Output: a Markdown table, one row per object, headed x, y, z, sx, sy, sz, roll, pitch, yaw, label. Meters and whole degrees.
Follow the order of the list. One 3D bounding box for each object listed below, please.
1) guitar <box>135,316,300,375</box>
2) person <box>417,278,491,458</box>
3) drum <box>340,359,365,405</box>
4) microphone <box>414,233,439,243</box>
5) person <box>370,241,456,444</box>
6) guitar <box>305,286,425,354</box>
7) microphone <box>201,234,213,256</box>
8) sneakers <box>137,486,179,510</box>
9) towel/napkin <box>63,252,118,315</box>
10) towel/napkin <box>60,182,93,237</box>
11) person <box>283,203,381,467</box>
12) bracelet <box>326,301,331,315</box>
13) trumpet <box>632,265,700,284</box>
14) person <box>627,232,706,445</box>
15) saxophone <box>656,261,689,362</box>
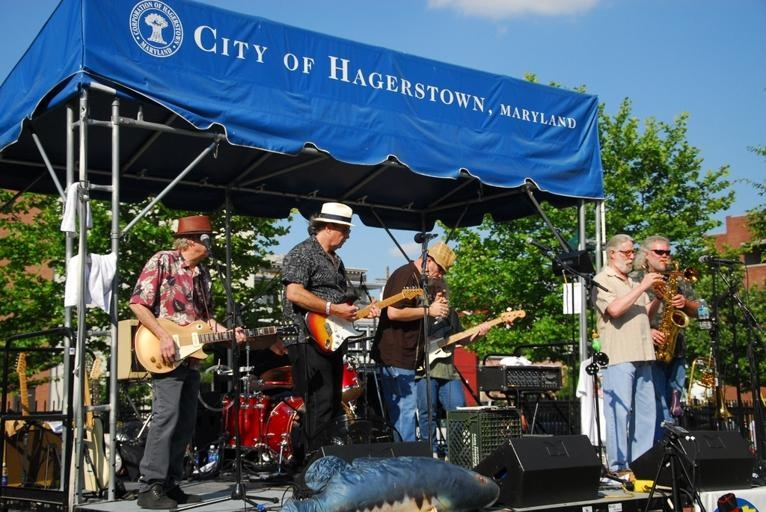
| x | y | z | sx | sy | sz | roll | pitch | yaw | label |
| --- | --- | --- | --- | --- | --- | --- | --- | --- | --- |
| -2.156 | 1.172 | 14.450 | 1.851 | 0.675 | 1.106 | 3 | -11 | -16 | guitar |
| 0.952 | 1.568 | 15.834 | 0.904 | 2.238 | 1.111 | 1 | -5 | -1 | person |
| -0.418 | 1.640 | 16.131 | 0.363 | 0.373 | 0.365 | -5 | -6 | -17 | drum |
| 0.510 | -0.247 | 14.759 | 0.216 | 0.160 | 0.174 | -5 | -12 | 25 | microphone |
| 0.472 | 1.146 | 15.350 | 0.960 | 2.802 | 0.905 | 3 | -5 | -37 | person |
| -0.240 | 0.714 | 14.807 | 1.714 | 0.676 | 0.225 | -24 | -12 | -29 | guitar |
| -2.136 | -0.165 | 14.079 | 0.101 | 0.340 | 0.102 | -26 | -11 | 33 | microphone |
| -2.663 | 2.867 | 13.668 | 0.460 | 0.207 | 0.226 | -2 | -9 | 24 | sneakers |
| -3.604 | 0.308 | 14.284 | 0.626 | 0.735 | 0.407 | 1 | -10 | -3 | towel/napkin |
| -3.790 | -0.627 | 14.423 | 0.626 | 0.653 | 0.337 | -9 | -14 | 41 | towel/napkin |
| -0.715 | 0.832 | 14.766 | 1.037 | 4.077 | 1.374 | -3 | -5 | 38 | person |
| -0.692 | 0.642 | 14.476 | 0.080 | 0.133 | 0.133 | 0 | 20 | 1 | bracelet |
| 3.747 | 0.257 | 15.569 | 0.797 | 0.367 | 0.320 | -7 | -2 | 42 | trumpet |
| 3.729 | 1.057 | 15.425 | 0.872 | 2.789 | 0.851 | 1 | -2 | 5 | person |
| 3.795 | 0.830 | 15.342 | 0.374 | 1.593 | 0.353 | 1 | 0 | 2 | saxophone |
